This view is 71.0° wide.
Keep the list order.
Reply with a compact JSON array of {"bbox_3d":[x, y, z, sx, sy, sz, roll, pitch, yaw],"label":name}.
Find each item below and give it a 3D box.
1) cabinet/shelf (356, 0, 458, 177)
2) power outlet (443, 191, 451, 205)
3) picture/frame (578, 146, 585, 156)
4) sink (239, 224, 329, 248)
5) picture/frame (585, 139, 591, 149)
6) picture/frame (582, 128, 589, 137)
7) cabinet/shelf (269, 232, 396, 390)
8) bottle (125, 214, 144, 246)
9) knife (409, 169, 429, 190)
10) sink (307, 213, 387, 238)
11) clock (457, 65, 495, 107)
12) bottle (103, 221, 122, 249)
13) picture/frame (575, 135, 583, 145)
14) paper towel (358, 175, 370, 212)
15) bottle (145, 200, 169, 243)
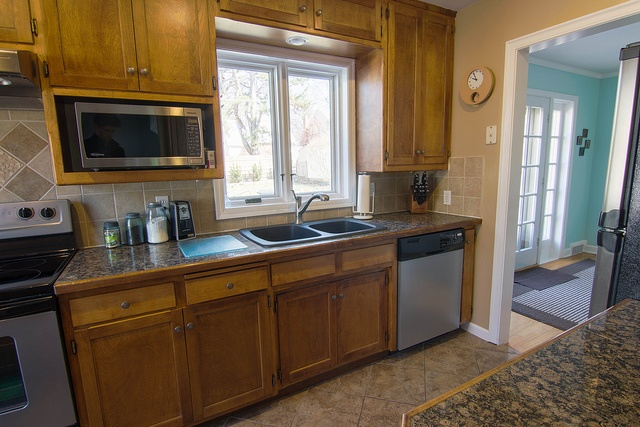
[{"bbox_3d":[0.790,-1.085,3.960,0.878,1.415,0.307,-6,11,-18],"label":"cabinet/shelf"},{"bbox_3d":[1.189,-0.144,4.180,0.016,0.137,0.100,-9,12,-28],"label":"power outlet"},{"bbox_3d":[3.396,-0.803,5.816,0.119,0.112,0.009,-14,22,-26],"label":"picture/frame"},{"bbox_3d":[-0.354,0.171,3.662,0.344,0.129,0.287,-4,11,-35],"label":"sink"},{"bbox_3d":[3.518,-0.907,5.883,0.133,0.144,0.015,-8,10,-31],"label":"picture/frame"},{"bbox_3d":[3.452,-1.047,5.825,0.125,0.118,0.012,-13,21,-29],"label":"picture/frame"},{"bbox_3d":[0.071,0.737,3.402,1.181,0.950,0.441,-6,9,-30],"label":"cabinet/shelf"},{"bbox_3d":[-1.391,0.118,3.335,0.146,0.236,0.128,-7,11,-22],"label":"bottle"},{"bbox_3d":[0.933,-0.324,4.298,0.187,0.230,0.156,4,25,8],"label":"knife"},{"bbox_3d":[0.162,0.117,3.815,0.295,0.168,0.290,-8,13,-38],"label":"sink"},{"bbox_3d":[1.350,-1.086,3.866,0.089,0.320,0.309,-10,12,-32],"label":"clock"},{"bbox_3d":[-1.537,0.162,3.292,0.111,0.187,0.115,-3,10,0],"label":"bottle"},{"bbox_3d":[3.334,-0.942,5.767,0.129,0.140,0.014,-10,21,-25],"label":"picture/frame"},{"bbox_3d":[0.384,-0.169,3.948,0.108,0.341,0.047,-2,11,4],"label":"paper towel"},{"bbox_3d":[-1.228,0.075,3.366,0.169,0.303,0.108,-8,12,-25],"label":"bottle"}]
